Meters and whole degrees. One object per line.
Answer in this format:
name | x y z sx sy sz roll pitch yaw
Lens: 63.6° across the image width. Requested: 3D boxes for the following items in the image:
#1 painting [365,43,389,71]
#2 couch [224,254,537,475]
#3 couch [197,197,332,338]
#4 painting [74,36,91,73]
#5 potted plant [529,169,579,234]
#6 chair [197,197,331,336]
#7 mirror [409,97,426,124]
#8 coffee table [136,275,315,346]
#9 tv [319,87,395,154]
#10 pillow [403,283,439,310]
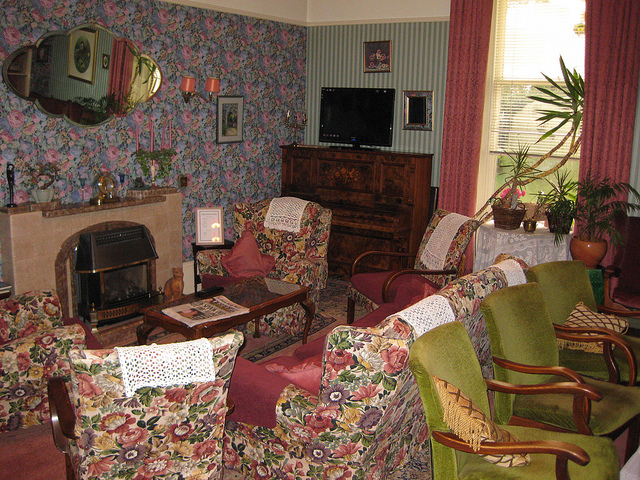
painting | 0.806 -2.570 7.175 0.354 0.385 0.036 9 12 31
couch | 0.379 0.818 3.387 0.684 0.712 1.261 11 14 40
couch | -0.553 0.264 5.570 1.333 1.455 1.170 5 3 27
painting | -2.455 -1.915 5.305 0.020 0.358 0.165 10 12 40
potted plant | 2.676 -0.442 5.889 0.523 0.825 0.627 1 2 6
chair | -0.441 0.233 5.585 1.053 1.081 0.937 11 34 -8
mirror | 1.328 -1.764 6.961 0.295 0.430 0.041 10 14 39
coffee table | -0.802 0.849 4.724 0.822 0.691 1.462 7 12 36
tv | 0.548 -1.662 7.082 0.875 0.693 0.263 8 12 28
pillow | 0.717 0.384 3.660 0.203 0.082 0.204 -31 13 -24
